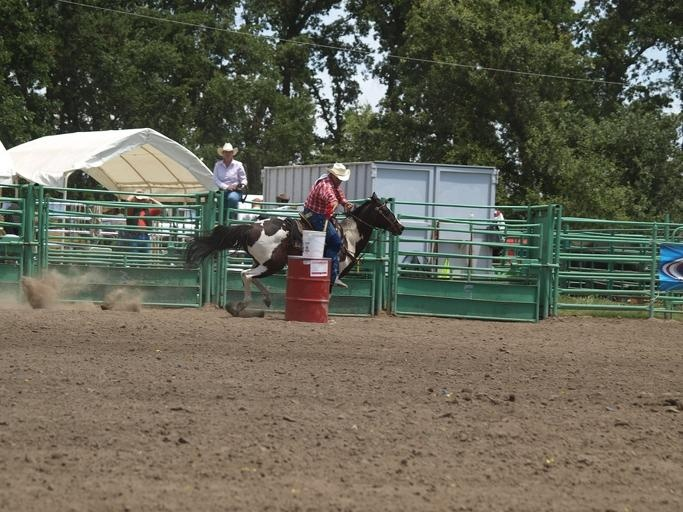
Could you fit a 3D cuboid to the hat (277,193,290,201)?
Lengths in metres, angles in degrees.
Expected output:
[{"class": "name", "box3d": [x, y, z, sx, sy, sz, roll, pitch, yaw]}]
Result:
[{"class": "hat", "box3d": [-1.342, -1.410, 19.654, 0.322, 0.188, 0.304, 0, 12, -25]}]

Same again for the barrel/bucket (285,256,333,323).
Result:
[{"class": "barrel/bucket", "box3d": [-0.541, 0.521, 12.962, 0.715, 1.042, 0.389, 6, 14, -3]}]

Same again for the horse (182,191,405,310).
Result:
[{"class": "horse", "box3d": [-0.802, -0.107, 13.665, 3.766, 1.618, 0.821, -1, 7, -16]}]

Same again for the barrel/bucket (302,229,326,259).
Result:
[{"class": "barrel/bucket", "box3d": [-0.463, -0.204, 12.958, 0.350, 0.425, 0.362, 6, 13, -1]}]

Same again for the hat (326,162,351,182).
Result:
[{"class": "hat", "box3d": [-0.032, -1.390, 13.464, 0.295, 0.311, 0.787, 7, 11, 4]}]
